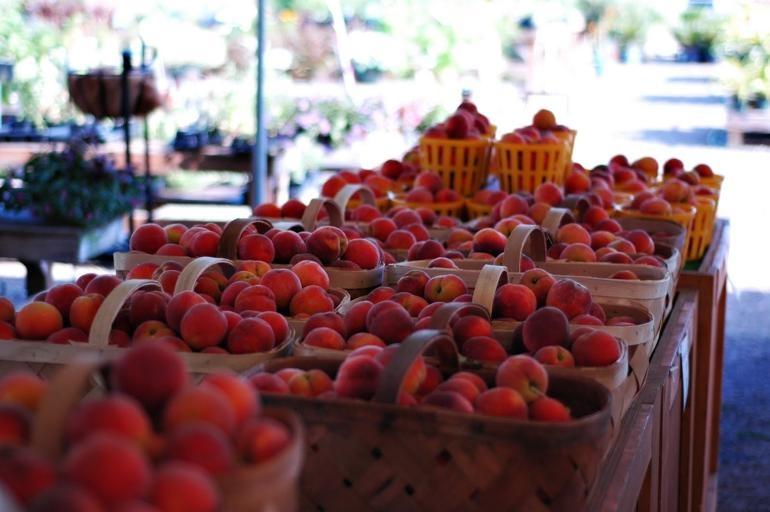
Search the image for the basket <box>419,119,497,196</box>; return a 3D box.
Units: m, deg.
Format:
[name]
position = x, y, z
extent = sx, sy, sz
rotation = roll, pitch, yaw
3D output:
[basket]
position = 0.350, -0.432, 3.290
extent = 0.300, 0.238, 0.322
rotation = 0, 10, 30
